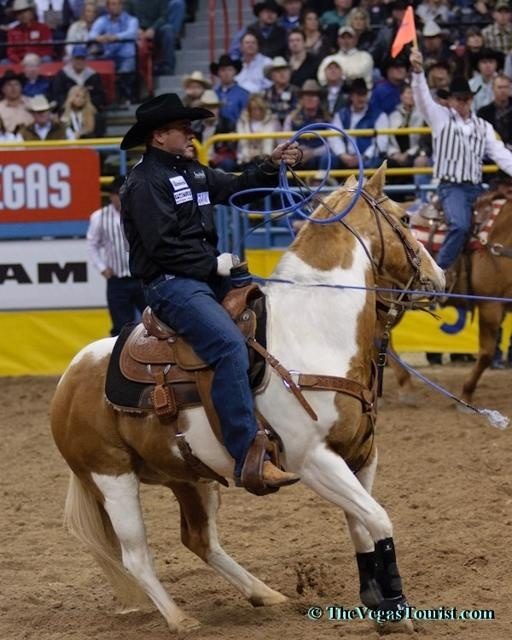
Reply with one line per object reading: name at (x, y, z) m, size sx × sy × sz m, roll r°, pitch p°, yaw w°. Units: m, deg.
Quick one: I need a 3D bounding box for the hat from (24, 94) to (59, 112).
hat at (-2.259, -2.223, 10.824) m, size 0.260 × 0.080 × 0.252 m, roll -3°, pitch 4°, yaw 2°

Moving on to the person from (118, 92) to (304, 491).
person at (-0.215, -0.140, 4.898) m, size 0.781 × 1.836 × 0.990 m, roll -7°, pitch 14°, yaw 1°

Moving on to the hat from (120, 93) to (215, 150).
hat at (-0.454, -0.973, 5.014) m, size 0.538 × 0.168 × 0.363 m, roll -17°, pitch 5°, yaw -1°

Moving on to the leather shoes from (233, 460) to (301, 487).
leather shoes at (0.028, 0.700, 4.711) m, size 0.316 × 0.109 × 0.098 m, roll -5°, pitch -11°, yaw 25°
